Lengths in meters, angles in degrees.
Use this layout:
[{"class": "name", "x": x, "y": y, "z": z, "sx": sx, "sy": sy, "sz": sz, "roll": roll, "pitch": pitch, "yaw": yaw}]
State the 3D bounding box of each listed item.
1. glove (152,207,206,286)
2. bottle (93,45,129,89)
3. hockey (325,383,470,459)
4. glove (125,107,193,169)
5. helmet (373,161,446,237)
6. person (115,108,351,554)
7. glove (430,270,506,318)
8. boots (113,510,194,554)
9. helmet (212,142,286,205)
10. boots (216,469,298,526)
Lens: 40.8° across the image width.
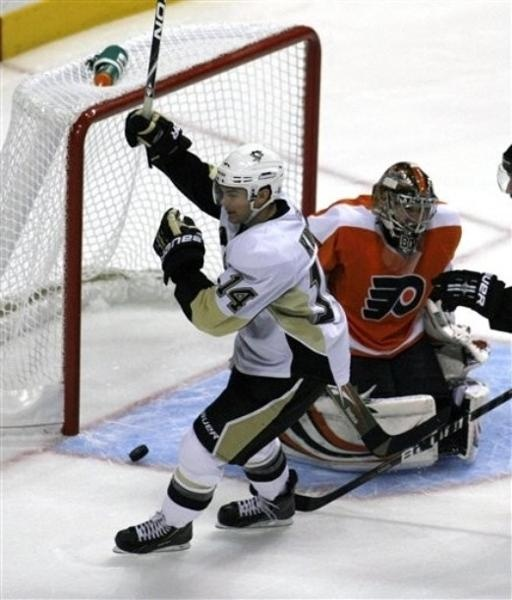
[{"class": "glove", "x": -0.211, "y": -0.162, "z": 1.984, "sx": 0.111, "sy": 0.199, "sz": 0.173, "roll": -6, "pitch": -25, "yaw": -27}, {"class": "bottle", "x": -0.607, "y": -0.978, "z": 2.868, "sx": 0.167, "sy": 0.159, "sz": 0.201, "roll": -6, "pitch": 21, "yaw": -9}, {"class": "hockey", "x": 0.495, "y": 0.430, "z": 2.458, "sx": 0.407, "sy": 0.089, "sz": 0.409, "roll": 13, "pitch": 7, "yaw": 39}, {"class": "glove", "x": -0.332, "y": -0.556, "z": 2.344, "sx": 0.112, "sy": 0.159, "sz": 0.209, "roll": 43, "pitch": 6, "yaw": -8}, {"class": "helmet", "x": 0.512, "y": -0.356, "z": 2.370, "sx": 0.243, "sy": 0.249, "sz": 0.283, "roll": -3, "pitch": 13, "yaw": -32}, {"class": "person", "x": -0.030, "y": 0.162, "z": 2.129, "sx": 0.622, "sy": 1.264, "sz": 0.717, "roll": 2, "pitch": 23, "yaw": 12}, {"class": "glove", "x": 0.756, "y": -0.019, "z": 2.355, "sx": 0.253, "sy": 0.130, "sz": 0.077, "roll": 19, "pitch": -24, "yaw": -27}, {"class": "boots", "x": -0.303, "y": 0.693, "z": 2.119, "sx": 0.321, "sy": 0.115, "sz": 0.088, "roll": -1, "pitch": 39, "yaw": -12}, {"class": "helmet", "x": 0.005, "y": -0.348, "z": 1.894, "sx": 0.215, "sy": 0.163, "sz": 0.142, "roll": 5, "pitch": 25, "yaw": 1}, {"class": "boots", "x": -0.005, "y": 0.658, "z": 2.309, "sx": 0.282, "sy": 0.150, "sz": 0.124, "roll": 1, "pitch": 27, "yaw": -6}]
